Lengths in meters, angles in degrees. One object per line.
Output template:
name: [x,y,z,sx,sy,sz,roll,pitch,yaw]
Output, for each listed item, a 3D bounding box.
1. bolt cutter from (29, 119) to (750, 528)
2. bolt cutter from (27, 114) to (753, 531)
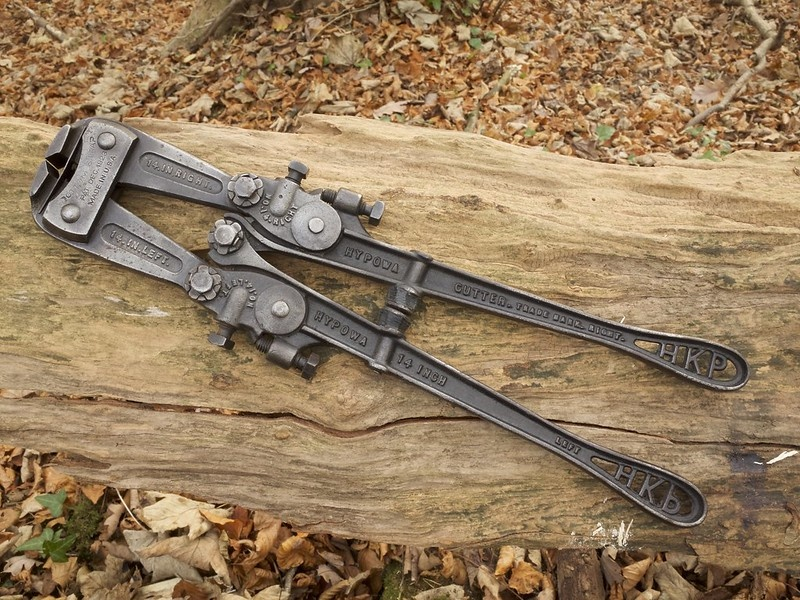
bolt cutter: [-0.420,-0.078,7.557,5.555,0.284,1.514,24,86,0]
bolt cutter: [-0.757,-0.214,7.556,8.636,0.643,2.176,18,84,-2]
